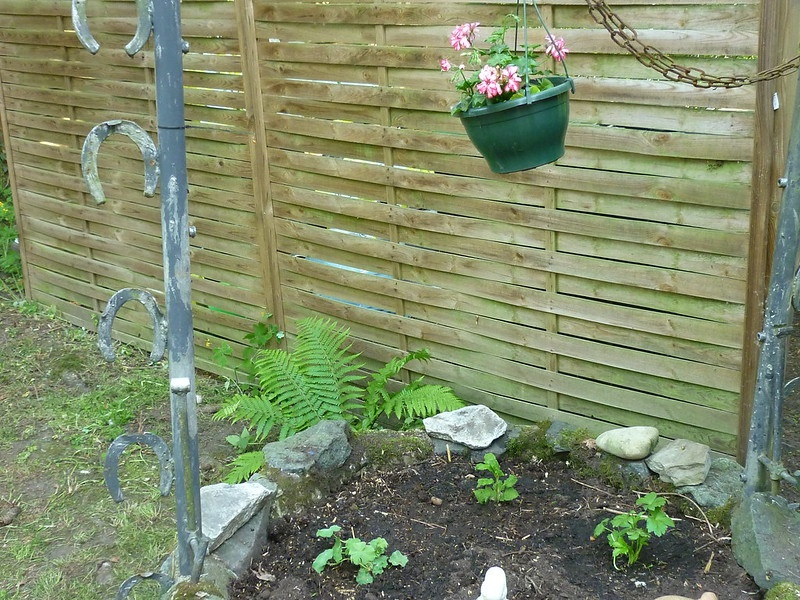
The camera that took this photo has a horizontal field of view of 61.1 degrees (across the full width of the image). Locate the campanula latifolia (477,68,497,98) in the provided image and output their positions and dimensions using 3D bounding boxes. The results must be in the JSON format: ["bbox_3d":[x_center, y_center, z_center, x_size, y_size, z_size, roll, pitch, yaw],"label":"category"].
[{"bbox_3d":[0.356,-0.872,2.736,0.094,0.125,0.055,6,26,22],"label":"campanula latifolia"}]

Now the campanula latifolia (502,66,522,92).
[{"bbox_3d":[0.454,-0.883,2.728,0.078,0.106,0.091,-4,22,0],"label":"campanula latifolia"}]

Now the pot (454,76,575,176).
[{"bbox_3d":[0.501,-0.690,2.909,0.507,0.257,0.457,-7,21,30],"label":"pot"}]
